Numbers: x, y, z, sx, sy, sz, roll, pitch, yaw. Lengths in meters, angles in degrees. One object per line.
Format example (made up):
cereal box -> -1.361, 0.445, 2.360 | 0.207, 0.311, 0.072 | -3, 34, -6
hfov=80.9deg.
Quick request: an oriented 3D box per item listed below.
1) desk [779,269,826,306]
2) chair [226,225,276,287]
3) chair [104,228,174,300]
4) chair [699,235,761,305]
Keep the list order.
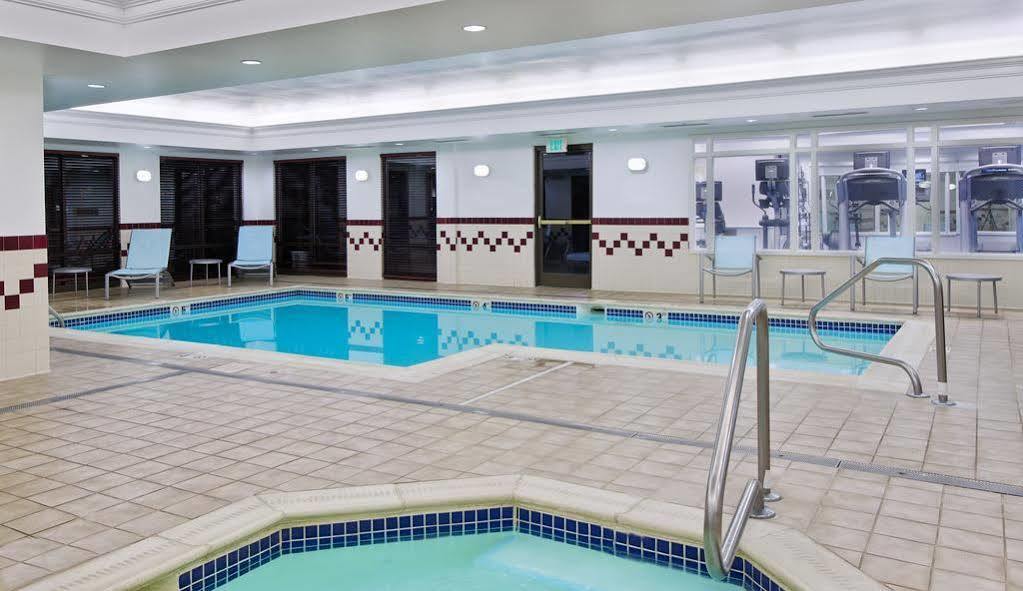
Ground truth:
desk -> 4.698, -0.170, 9.632 | 0.631, 0.650, 1.137 | 6, 15, 25
chair -> -5.408, -0.859, 12.671 | 0.750, 1.151, 0.798 | -5, 16, -15
chair -> -6.760, -0.630, 11.167 | 0.854, 1.121, 1.071 | -8, 16, -24
chair -> 3.594, -0.446, 10.093 | 1.109, 1.117, 1.272 | 7, 17, 28
